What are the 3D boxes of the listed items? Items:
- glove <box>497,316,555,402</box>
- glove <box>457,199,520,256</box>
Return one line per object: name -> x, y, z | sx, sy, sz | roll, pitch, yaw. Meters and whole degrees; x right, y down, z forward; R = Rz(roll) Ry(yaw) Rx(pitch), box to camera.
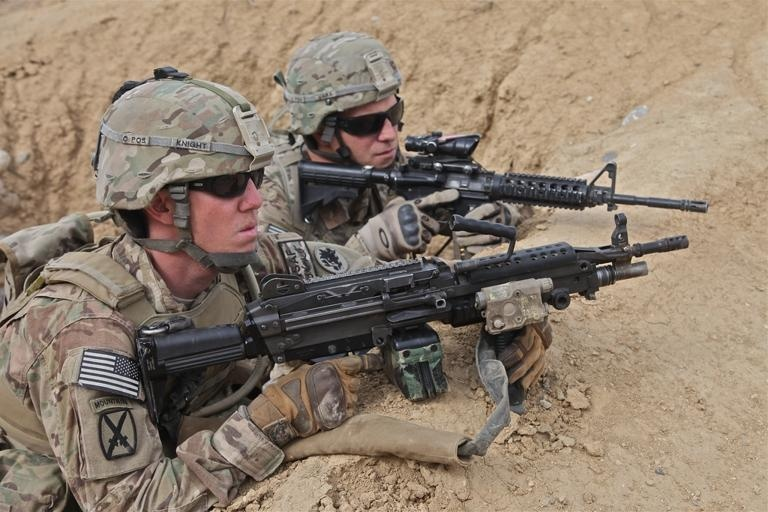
glove -> 1.221, 0.847, 7.747 | 0.274, 0.457, 0.610 | 23, 80, 15
glove -> 1.100, -0.371, 9.757 | 0.645, 0.515, 0.271 | -16, 39, 13
